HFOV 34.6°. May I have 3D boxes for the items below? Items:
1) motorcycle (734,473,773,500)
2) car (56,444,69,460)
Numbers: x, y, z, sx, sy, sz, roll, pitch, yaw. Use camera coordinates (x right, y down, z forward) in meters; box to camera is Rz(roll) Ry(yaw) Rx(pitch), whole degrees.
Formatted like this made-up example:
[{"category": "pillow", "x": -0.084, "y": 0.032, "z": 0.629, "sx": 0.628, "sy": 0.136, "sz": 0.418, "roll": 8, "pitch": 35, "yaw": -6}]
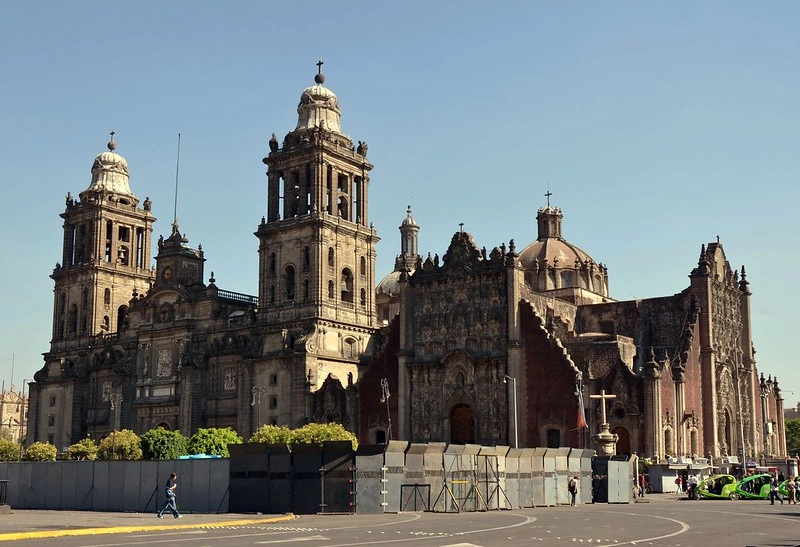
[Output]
[{"category": "motorcycle", "x": 27.794, "y": 16.627, "z": 100.427, "sx": 2.564, "sy": 1.917, "sz": 0.679, "roll": -3, "pitch": -16, "yaw": 8}, {"category": "car", "x": -40.365, "y": 21.186, "z": 152.732, "sx": 1.142, "sy": 1.767, "sz": 3.956, "roll": 4, "pitch": -16, "yaw": -17}]
